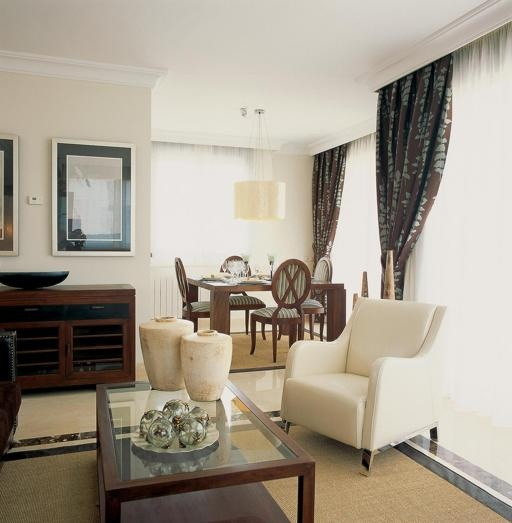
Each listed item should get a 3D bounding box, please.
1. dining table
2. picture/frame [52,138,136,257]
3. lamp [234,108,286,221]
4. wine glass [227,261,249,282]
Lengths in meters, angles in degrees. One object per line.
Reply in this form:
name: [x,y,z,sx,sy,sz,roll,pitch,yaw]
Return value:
dining table: [-0.189,0.388,4.468,0.859,0.600,0.991,1,-2,-21]
picture/frame: [-1.433,-0.515,3.748,0.699,1.142,0.024,-4,33,-29]
lamp: [0.026,-1.037,4.421,0.354,0.999,0.378,-2,12,-33]
wine glass: [-0.196,0.100,4.450,0.169,0.344,0.195,0,-5,-5]
